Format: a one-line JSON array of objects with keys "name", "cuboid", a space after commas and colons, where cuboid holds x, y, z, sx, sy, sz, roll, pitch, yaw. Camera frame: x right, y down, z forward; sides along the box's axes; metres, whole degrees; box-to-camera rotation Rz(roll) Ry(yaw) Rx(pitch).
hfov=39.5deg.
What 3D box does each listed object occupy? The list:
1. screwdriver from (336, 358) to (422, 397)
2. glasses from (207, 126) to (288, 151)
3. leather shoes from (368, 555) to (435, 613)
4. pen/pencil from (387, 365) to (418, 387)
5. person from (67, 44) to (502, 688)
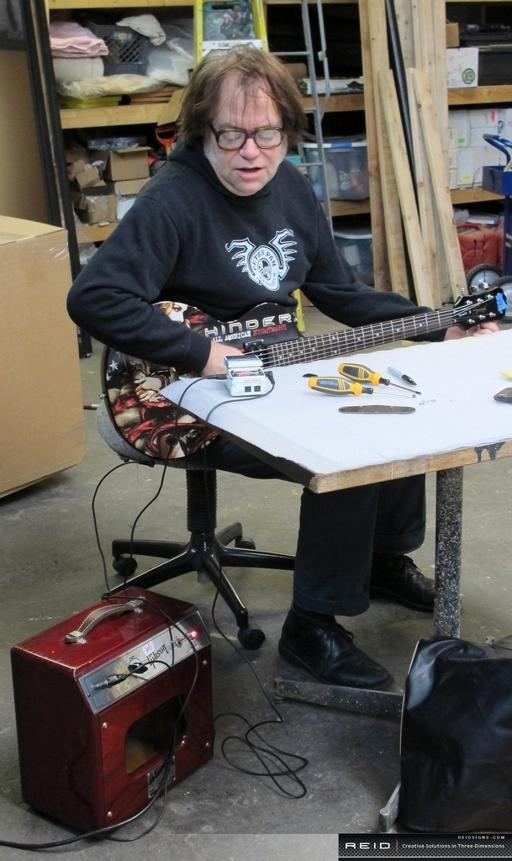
[{"name": "screwdriver", "cuboid": [0.188, -0.098, 1.186, 0.170, 0.043, 0.032, 22, 18, 33]}, {"name": "glasses", "cuboid": [-0.019, -0.565, 1.382, 0.134, 0.043, 0.034, 0, 15, -2]}, {"name": "leather shoes", "cuboid": [0.365, 0.380, 1.780, 0.213, 0.130, 0.084, 2, 10, 20]}, {"name": "pen/pencil", "cuboid": [0.243, -0.090, 1.171, 0.013, 0.014, 0.074, -42, 19, 1]}, {"name": "person", "cuboid": [0.101, -0.163, 1.542, 0.693, 1.166, 0.579, 8, 22, 28]}]
